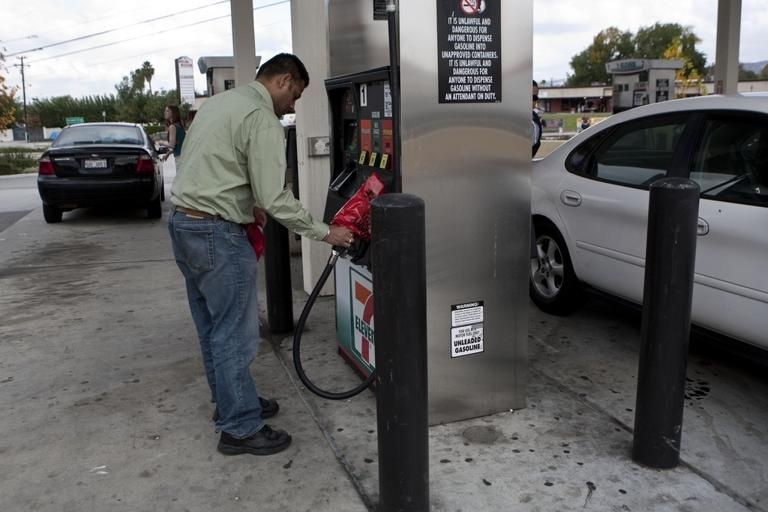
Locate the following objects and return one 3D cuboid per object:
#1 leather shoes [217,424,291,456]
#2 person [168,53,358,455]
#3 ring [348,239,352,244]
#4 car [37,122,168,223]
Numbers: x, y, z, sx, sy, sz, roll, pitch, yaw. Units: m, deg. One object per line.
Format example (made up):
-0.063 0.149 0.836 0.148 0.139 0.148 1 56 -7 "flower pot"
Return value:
-0.864 1.198 3.589 0.464 0.253 0.198 -2 11 -7 "leather shoes"
-0.862 0.011 3.459 0.939 2.476 0.688 -10 18 -23 "person"
-0.213 -0.092 3.380 0.009 0.028 0.027 6 6 -8 "ring"
-5.426 -1.678 9.989 1.409 1.199 3.228 -3 13 -13 "car"
